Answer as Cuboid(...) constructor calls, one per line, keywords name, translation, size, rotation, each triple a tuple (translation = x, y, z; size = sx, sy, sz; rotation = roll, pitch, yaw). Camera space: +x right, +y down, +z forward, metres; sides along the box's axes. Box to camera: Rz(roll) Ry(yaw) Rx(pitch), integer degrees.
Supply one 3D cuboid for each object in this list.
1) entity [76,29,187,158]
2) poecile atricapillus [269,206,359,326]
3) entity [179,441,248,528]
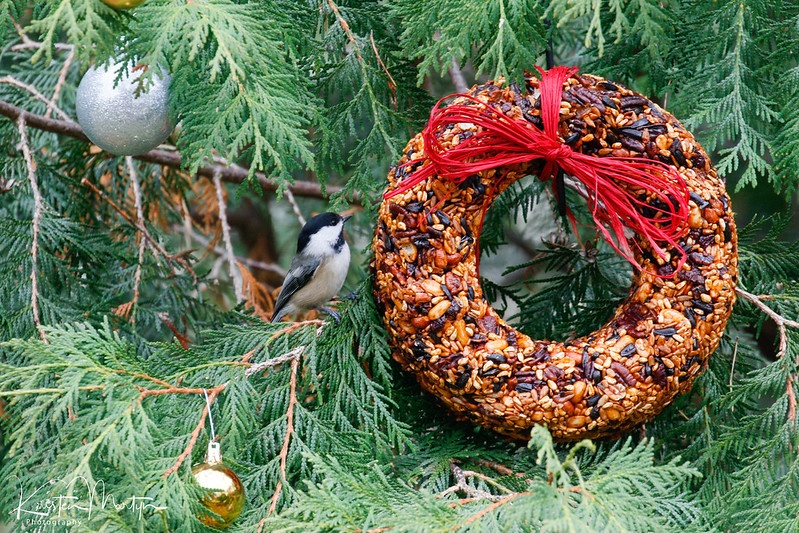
Cuboid(name="entity", translation=(-1.190, -0.738, 3.780), size=(0.395, 0.389, 0.540), rotation=(10, 101, 39))
Cuboid(name="poecile atricapillus", translation=(-0.458, -0.024, 4.600), size=(0.352, 0.657, 0.579), rotation=(16, 64, 5))
Cuboid(name="entity", translation=(-0.711, 0.852, 3.441), size=(0.236, 0.258, 0.401), rotation=(-5, 85, 23))
